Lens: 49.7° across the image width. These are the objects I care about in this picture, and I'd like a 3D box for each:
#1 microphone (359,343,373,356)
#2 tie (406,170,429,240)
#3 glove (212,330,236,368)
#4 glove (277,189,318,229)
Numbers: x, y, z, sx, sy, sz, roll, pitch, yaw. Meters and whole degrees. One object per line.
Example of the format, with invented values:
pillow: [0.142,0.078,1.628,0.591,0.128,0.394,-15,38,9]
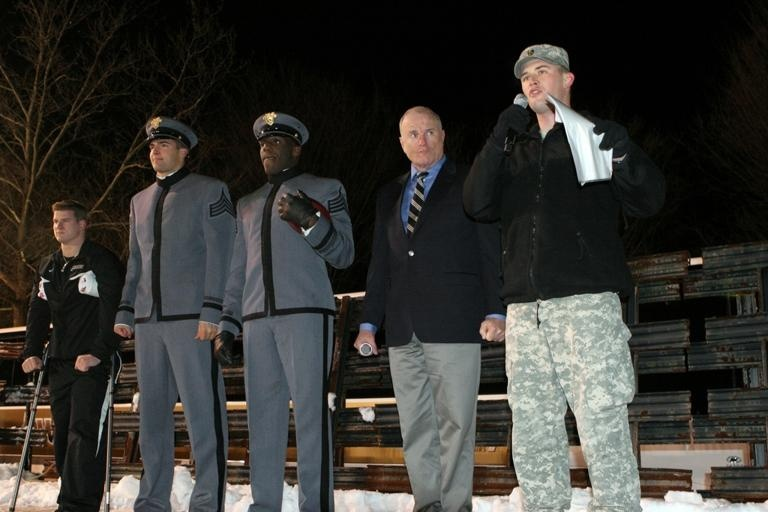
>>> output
microphone: [-0.182,0.945,8.096,0.103,0.159,0.154,3,-1,0]
tie: [0.306,-0.512,8.158,0.119,0.889,0.090,0,-30,26]
glove: [-1.567,0.933,8.191,0.233,0.317,0.128,1,-8,33]
glove: [-0.815,-0.412,7.822,0.372,0.329,0.116,-2,-10,-8]
